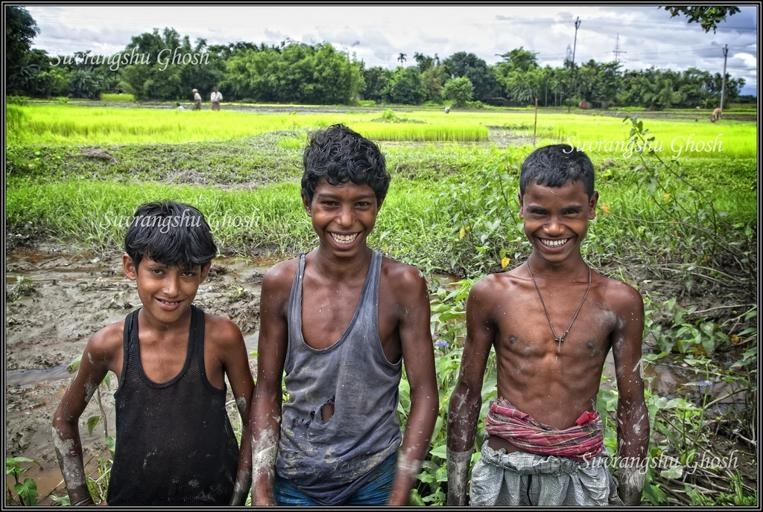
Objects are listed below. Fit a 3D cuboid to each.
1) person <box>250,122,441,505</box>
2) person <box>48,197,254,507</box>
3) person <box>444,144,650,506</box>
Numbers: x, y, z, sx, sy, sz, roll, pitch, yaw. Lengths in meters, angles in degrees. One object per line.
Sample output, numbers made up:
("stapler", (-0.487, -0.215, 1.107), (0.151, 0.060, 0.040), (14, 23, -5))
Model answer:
("person", (-0.233, 0.392, 3.740), (1.138, 2.226, 0.524), (1, 9, 4))
("person", (-1.357, 0.606, 3.756), (1.134, 1.856, 0.472), (-1, 10, -11))
("person", (1.029, 0.458, 3.822), (1.218, 2.223, 0.559), (1, 9, 6))
